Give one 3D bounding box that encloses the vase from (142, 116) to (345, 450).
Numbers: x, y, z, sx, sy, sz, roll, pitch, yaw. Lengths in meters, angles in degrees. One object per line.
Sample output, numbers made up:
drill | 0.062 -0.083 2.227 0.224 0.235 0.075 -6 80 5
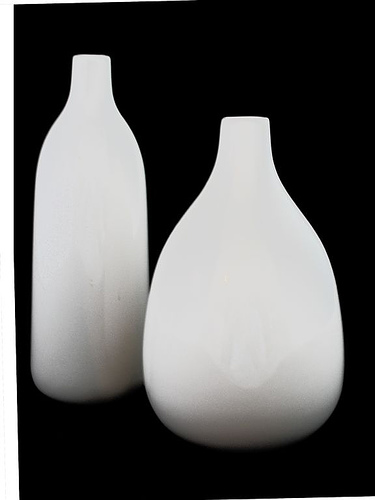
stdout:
vase | 0.084 0.053 0.850 0.282 0.343 0.672 -1 93 -5
